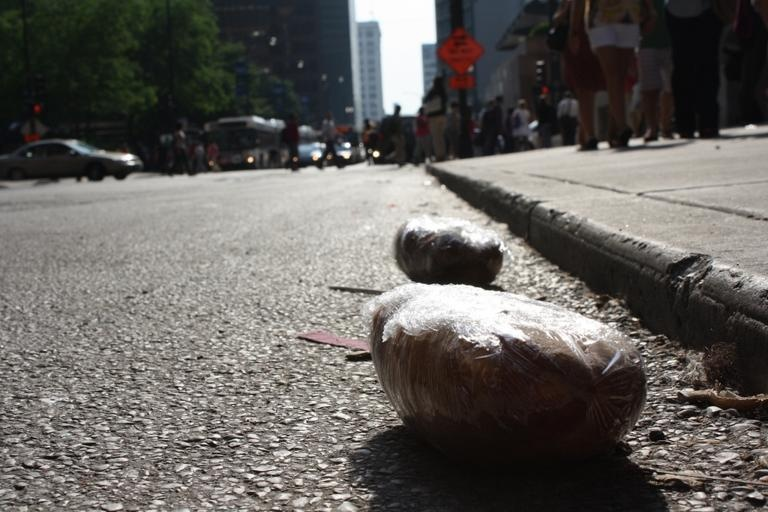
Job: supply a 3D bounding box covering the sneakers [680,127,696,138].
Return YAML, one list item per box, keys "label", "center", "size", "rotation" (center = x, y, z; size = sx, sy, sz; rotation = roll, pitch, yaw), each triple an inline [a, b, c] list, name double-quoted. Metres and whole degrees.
- label: "sneakers"
  center: [3.592, -1.366, 10.336]
  size: [0.122, 0.094, 0.114]
  rotation: [0, -5, 14]

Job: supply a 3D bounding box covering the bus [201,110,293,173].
- label: "bus"
  center: [-6.327, -5.429, 45.406]
  size: [2.828, 3.223, 10.249]
  rotation: [-2, 5, 5]

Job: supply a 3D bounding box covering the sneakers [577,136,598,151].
- label: "sneakers"
  center: [2.643, -1.354, 11.191]
  size: [0.112, 0.141, 0.314]
  rotation: [-5, 11, 6]
